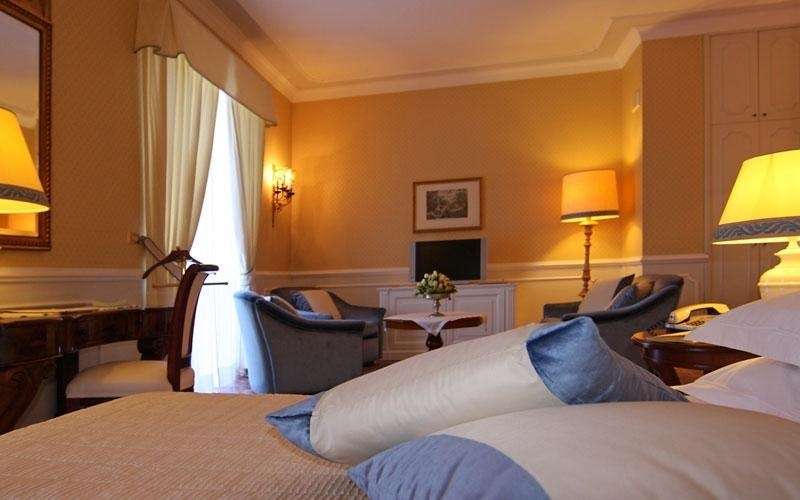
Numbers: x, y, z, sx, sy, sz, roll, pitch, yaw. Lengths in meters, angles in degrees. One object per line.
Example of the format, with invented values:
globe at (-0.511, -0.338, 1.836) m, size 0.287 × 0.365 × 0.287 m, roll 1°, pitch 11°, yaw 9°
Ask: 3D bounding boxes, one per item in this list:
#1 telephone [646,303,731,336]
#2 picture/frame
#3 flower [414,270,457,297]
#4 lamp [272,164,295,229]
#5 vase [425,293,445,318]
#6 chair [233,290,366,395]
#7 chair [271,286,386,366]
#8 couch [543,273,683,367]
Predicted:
telephone at (1.753, 0.428, 3.485) m, size 0.389 × 0.133 × 0.220 m, roll -7°, pitch 5°, yaw -28°
picture/frame at (0.610, -0.553, 6.945) m, size 0.738 × 0.547 × 0.029 m, roll 1°, pitch -5°, yaw 6°
flower at (0.352, 0.342, 5.513) m, size 0.303 × 0.229 × 0.303 m, roll 0°, pitch 0°, yaw 19°
lamp at (-1.471, -0.675, 6.923) m, size 0.180 × 0.726 × 0.408 m, roll 1°, pitch 10°, yaw 5°
vase at (0.352, 0.555, 5.487) m, size 0.266 × 0.218 × 0.244 m, roll 2°, pitch -9°, yaw -7°
chair at (-0.831, 0.680, 4.590) m, size 0.890 × 0.755 × 0.868 m, roll -2°, pitch 0°, yaw -26°
chair at (-0.753, 0.696, 6.045) m, size 1.023 × 0.973 × 1.010 m, roll -6°, pitch -9°, yaw 22°
couch at (1.745, 0.516, 4.687) m, size 1.085 × 1.070 × 0.930 m, roll 0°, pitch -6°, yaw 8°
